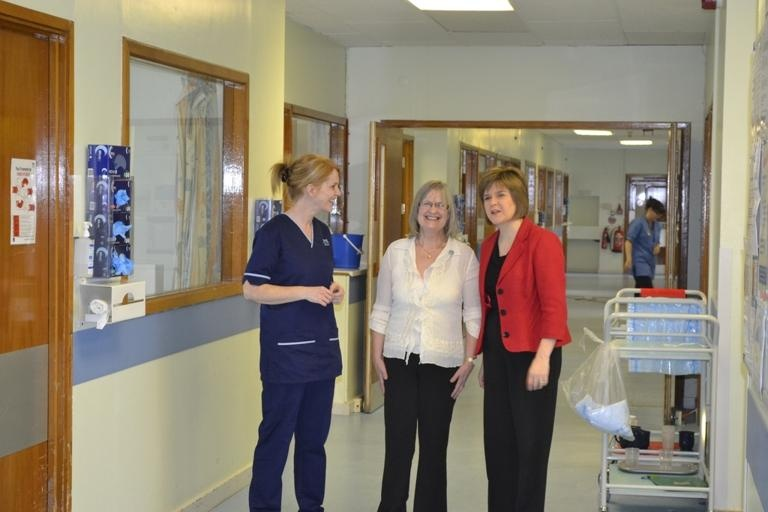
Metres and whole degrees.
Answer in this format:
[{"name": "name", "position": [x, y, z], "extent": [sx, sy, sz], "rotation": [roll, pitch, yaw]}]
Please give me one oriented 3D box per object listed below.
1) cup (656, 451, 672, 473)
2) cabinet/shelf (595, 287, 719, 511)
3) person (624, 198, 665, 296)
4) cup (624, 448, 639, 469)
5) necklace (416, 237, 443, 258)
[{"name": "cup", "position": [1.985, 1.451, 4.210], "extent": [0.109, 0.205, 0.112], "rotation": [-1, 1, 0]}, {"name": "cabinet/shelf", "position": [1.943, 1.052, 4.163], "extent": [0.827, 1.494, 1.470], "rotation": [1, -1, 13]}, {"name": "person", "position": [3.249, -0.142, 7.405], "extent": [0.426, 1.177, 1.056], "rotation": [3, 6, 22]}, {"name": "cup", "position": [1.747, 1.436, 4.183], "extent": [0.108, 0.127, 0.112], "rotation": [2, -7, 0]}, {"name": "necklace", "position": [0.248, -0.046, 3.288], "extent": [0.097, 0.136, 0.038], "rotation": [-1, 4, 2]}]
